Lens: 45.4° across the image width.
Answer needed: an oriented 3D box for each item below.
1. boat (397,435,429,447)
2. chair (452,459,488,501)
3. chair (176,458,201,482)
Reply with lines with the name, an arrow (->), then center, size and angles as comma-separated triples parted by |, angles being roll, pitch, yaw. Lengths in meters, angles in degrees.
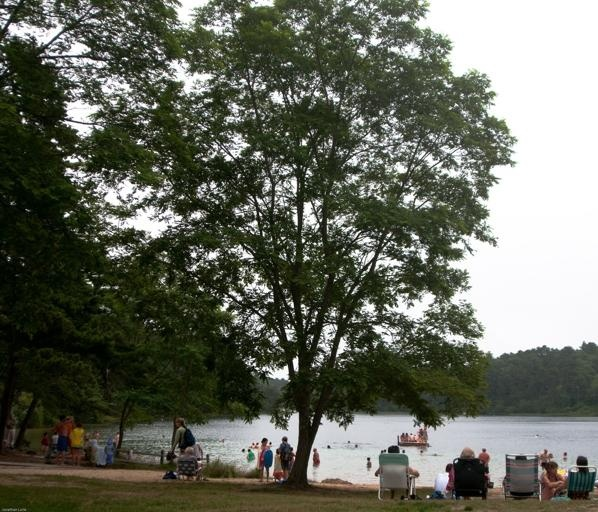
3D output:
boat -> 11.542, 18.907, 72.390 | 2.547, 0.683, 1.352 | 1, -14, 16
chair -> 4.532, 5.853, 18.837 | 1.148, 1.277, 1.204 | -1, -9, 13
chair -> -3.528, 7.003, 23.485 | 1.051, 0.716, 1.057 | 0, -12, 5
